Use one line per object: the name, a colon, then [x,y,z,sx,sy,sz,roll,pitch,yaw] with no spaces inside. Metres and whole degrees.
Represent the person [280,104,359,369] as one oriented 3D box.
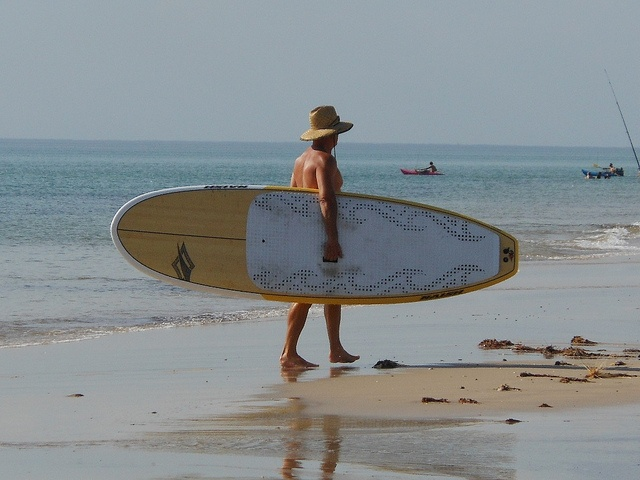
person: [-0.011,-0.030,21.005,0.938,3.376,0.693,0,0,1]
